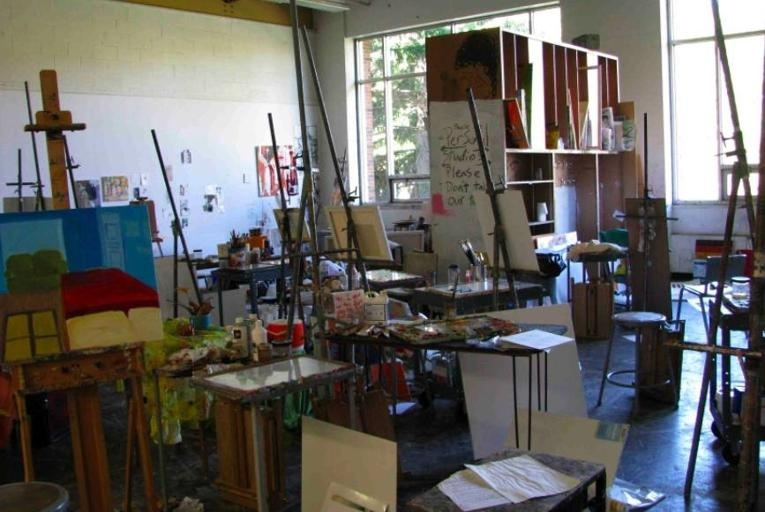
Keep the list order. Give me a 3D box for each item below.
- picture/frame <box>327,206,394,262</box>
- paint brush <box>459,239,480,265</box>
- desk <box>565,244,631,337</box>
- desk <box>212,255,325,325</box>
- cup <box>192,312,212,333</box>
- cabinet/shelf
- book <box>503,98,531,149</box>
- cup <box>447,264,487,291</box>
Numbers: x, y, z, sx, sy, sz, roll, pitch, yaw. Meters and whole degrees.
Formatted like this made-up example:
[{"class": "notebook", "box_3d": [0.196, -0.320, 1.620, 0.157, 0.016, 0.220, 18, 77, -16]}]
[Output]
[{"class": "picture/frame", "box_3d": [-0.217, -0.178, 5.602, 0.219, 0.585, 0.799, -24, 19, -29]}, {"class": "paint brush", "box_3d": [0.939, -0.059, 6.842, 0.089, 0.300, 0.086, -33, 5, -18]}, {"class": "desk", "box_3d": [2.496, 0.358, 7.463, 0.616, 1.110, 1.044, -5, 5, 15]}, {"class": "desk", "box_3d": [-1.498, 0.402, 7.423, 0.902, 0.437, 1.360, -7, 4, -14]}, {"class": "cup", "box_3d": [-1.575, 0.590, 5.554, 0.142, 0.110, 0.135, -2, 3, 0]}, {"class": "cabinet/shelf", "box_3d": [1.819, -1.281, 7.594, 0.922, 2.802, 3.220, -1, 5, 32]}, {"class": "book", "box_3d": [1.532, -1.521, 7.295, 0.231, 0.593, 0.263, -2, 6, 42]}, {"class": "cup", "box_3d": [0.803, 0.195, 6.049, 0.473, 0.282, 0.233, -2, 2, -30]}]
